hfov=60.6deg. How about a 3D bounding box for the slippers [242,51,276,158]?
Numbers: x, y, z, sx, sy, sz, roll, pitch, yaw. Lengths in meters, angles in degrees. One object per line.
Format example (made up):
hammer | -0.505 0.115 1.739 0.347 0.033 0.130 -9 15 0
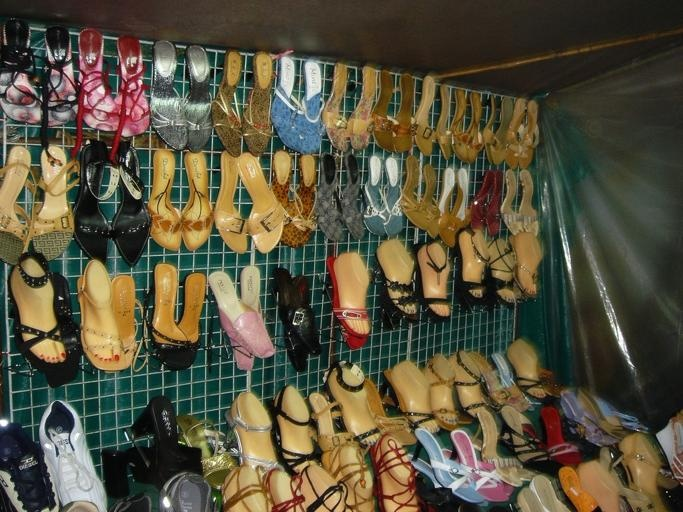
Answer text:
slippers | -0.427 -0.790 3.054 0.156 0.534 0.071 -8 17 -41

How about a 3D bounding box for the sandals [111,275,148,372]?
sandals | -1.065 0.335 2.940 0.058 0.471 0.170 -4 2 32

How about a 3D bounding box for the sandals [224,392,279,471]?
sandals | -0.470 0.927 3.108 0.177 0.448 0.117 -2 -20 -44

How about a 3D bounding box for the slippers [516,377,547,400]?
slippers | 1.284 0.881 3.940 0.168 0.098 0.047 33 -12 43

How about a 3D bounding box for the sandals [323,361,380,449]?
sandals | 0.082 0.827 3.322 0.185 0.547 0.185 -13 -20 -37

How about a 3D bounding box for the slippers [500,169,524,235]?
slippers | 1.164 -0.370 4.014 0.122 0.475 0.063 -3 6 -1

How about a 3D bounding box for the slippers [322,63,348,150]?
slippers | -0.029 -0.845 3.289 0.153 0.472 0.080 -9 15 -40

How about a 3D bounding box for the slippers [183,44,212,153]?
slippers | -0.711 -0.780 2.920 0.136 0.492 0.051 -12 15 -42

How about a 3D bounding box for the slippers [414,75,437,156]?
slippers | 0.508 -0.847 3.550 0.140 0.462 0.060 -2 7 -37

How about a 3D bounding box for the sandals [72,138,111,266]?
sandals | -1.182 -0.263 2.774 0.167 0.561 0.084 -4 6 -45

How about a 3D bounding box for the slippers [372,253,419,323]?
slippers | 0.324 0.231 3.514 0.177 0.473 0.119 -5 -7 -23

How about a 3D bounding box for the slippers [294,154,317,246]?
slippers | -0.176 -0.320 3.228 0.115 0.473 0.050 -5 9 -27

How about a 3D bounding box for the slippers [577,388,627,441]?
slippers | 1.615 1.003 3.637 0.079 0.132 0.342 39 14 -41

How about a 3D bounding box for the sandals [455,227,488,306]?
sandals | 0.857 0.048 3.806 0.163 0.523 0.184 -3 4 -22

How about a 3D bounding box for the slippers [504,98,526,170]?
slippers | 1.140 -0.829 3.954 0.155 0.464 0.073 -7 17 -36

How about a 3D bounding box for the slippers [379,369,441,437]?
slippers | 0.433 0.831 3.540 0.174 0.179 0.465 0 48 -50

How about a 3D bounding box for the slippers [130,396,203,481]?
slippers | -0.887 0.944 2.969 0.217 0.624 0.204 -14 -5 -40

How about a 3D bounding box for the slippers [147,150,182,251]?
slippers | -0.873 -0.276 2.903 0.169 0.488 0.085 -4 5 -39

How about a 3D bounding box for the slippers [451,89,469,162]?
slippers | 0.750 -0.832 3.688 0.104 0.448 0.062 -6 13 -22

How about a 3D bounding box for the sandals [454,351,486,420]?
sandals | 0.801 0.814 3.726 0.162 0.407 0.109 -9 -13 -27

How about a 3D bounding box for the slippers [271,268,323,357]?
slippers | -0.248 0.298 3.311 0.259 0.448 0.216 0 12 -8

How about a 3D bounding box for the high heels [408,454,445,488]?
high heels | 0.468 1.174 3.215 0.089 0.231 0.063 -35 -19 -16

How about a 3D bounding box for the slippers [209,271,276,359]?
slippers | -0.546 0.322 3.188 0.230 0.595 0.151 -26 3 -24

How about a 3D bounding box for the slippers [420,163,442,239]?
slippers | 0.563 -0.345 3.652 0.126 0.451 0.058 -3 -1 -44

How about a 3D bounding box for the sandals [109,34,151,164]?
sandals | -1.002 -0.746 2.788 0.158 0.582 0.115 -6 15 -21

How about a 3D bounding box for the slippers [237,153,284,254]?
slippers | -0.424 -0.282 3.127 0.218 0.527 0.080 -23 15 -22

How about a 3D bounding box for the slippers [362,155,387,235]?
slippers | 0.207 -0.376 3.511 0.133 0.459 0.178 1 11 -1

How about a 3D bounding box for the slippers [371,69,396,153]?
slippers | 0.251 -0.862 3.398 0.133 0.414 0.056 -4 11 -28

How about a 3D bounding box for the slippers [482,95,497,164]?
slippers | 0.959 -0.829 3.832 0.108 0.436 0.059 -11 18 -27

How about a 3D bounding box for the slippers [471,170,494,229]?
slippers | 0.933 -0.348 3.944 0.130 0.439 0.063 1 20 -22

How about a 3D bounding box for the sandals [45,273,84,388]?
sandals | -1.303 0.353 2.739 0.099 0.490 0.164 -7 2 36

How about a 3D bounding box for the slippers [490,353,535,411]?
slippers | 1.141 0.842 3.936 0.127 0.396 0.092 -6 -27 -17

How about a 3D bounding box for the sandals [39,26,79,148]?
sandals | -1.299 -0.799 2.668 0.155 0.567 0.128 -7 19 -22
